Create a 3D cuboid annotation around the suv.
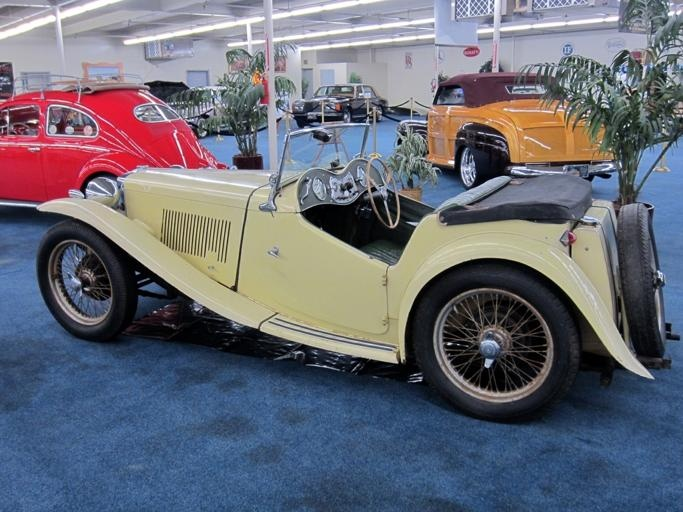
[{"bbox_3d":[-0.290,-0.068,3.594,4.553,1.551,1.960,9,15,22],"label":"suv"}]
